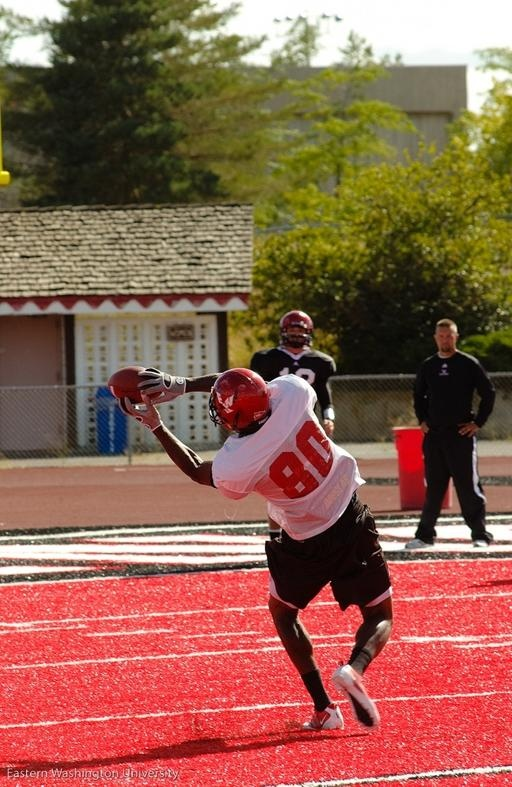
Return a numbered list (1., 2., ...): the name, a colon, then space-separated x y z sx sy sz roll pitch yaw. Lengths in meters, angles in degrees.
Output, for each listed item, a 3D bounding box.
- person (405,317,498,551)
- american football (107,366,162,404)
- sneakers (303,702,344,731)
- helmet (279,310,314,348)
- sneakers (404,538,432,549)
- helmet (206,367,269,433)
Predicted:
1. person: 1.574 0.344 9.384 0.660 1.840 0.576 2 8 8
2. american football: -0.521 -0.041 5.070 0.205 0.140 0.144 4 -3 7
3. sneakers: 0.303 1.401 5.138 0.226 0.097 0.078 -13 24 30
4. helmet: 0.293 -0.458 8.524 0.225 0.277 0.354 1 7 0
5. sneakers: 1.296 1.186 9.428 0.208 0.059 0.079 2 3 -36
6. helmet: -0.062 0.019 4.874 0.227 0.223 0.291 -10 11 -43
